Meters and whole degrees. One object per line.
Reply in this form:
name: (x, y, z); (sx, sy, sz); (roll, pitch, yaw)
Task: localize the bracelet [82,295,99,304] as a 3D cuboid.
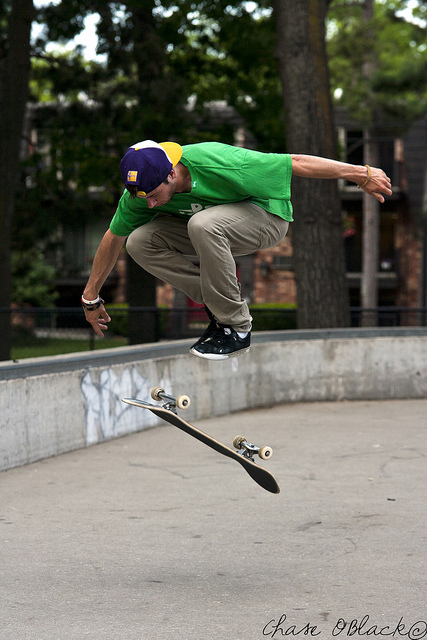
bracelet: (-0.827, -0.151, 6.913); (0.133, 0.057, 0.059); (-5, 8, -29)

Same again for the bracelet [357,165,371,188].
bracelet: (0.887, -0.870, 6.131); (0.063, 0.120, 0.164); (-4, 7, -13)

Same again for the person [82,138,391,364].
person: (0.039, -0.434, 6.296); (2.004, 1.331, 1.077); (0, 7, 12)

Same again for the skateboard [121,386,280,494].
skateboard: (-0.159, 0.976, 8.319); (1.000, 0.141, 0.239); (36, -24, -7)
